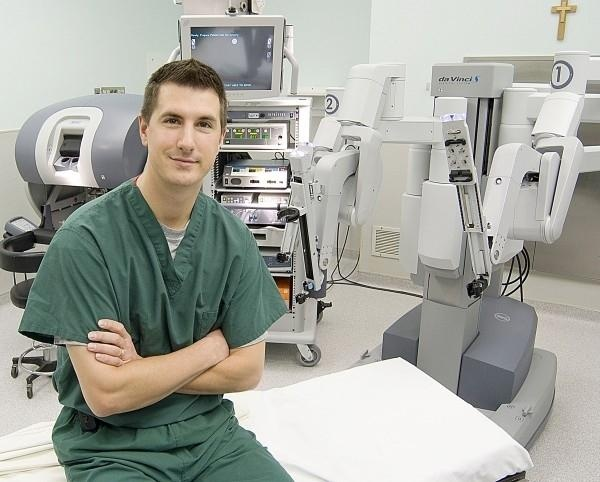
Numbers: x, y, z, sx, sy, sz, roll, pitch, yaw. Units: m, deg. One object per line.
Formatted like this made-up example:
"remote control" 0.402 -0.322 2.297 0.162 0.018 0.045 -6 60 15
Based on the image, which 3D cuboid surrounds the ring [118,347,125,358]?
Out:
"ring" -0.487 0.302 1.304 0.019 0.029 0.010 -3 5 -30
